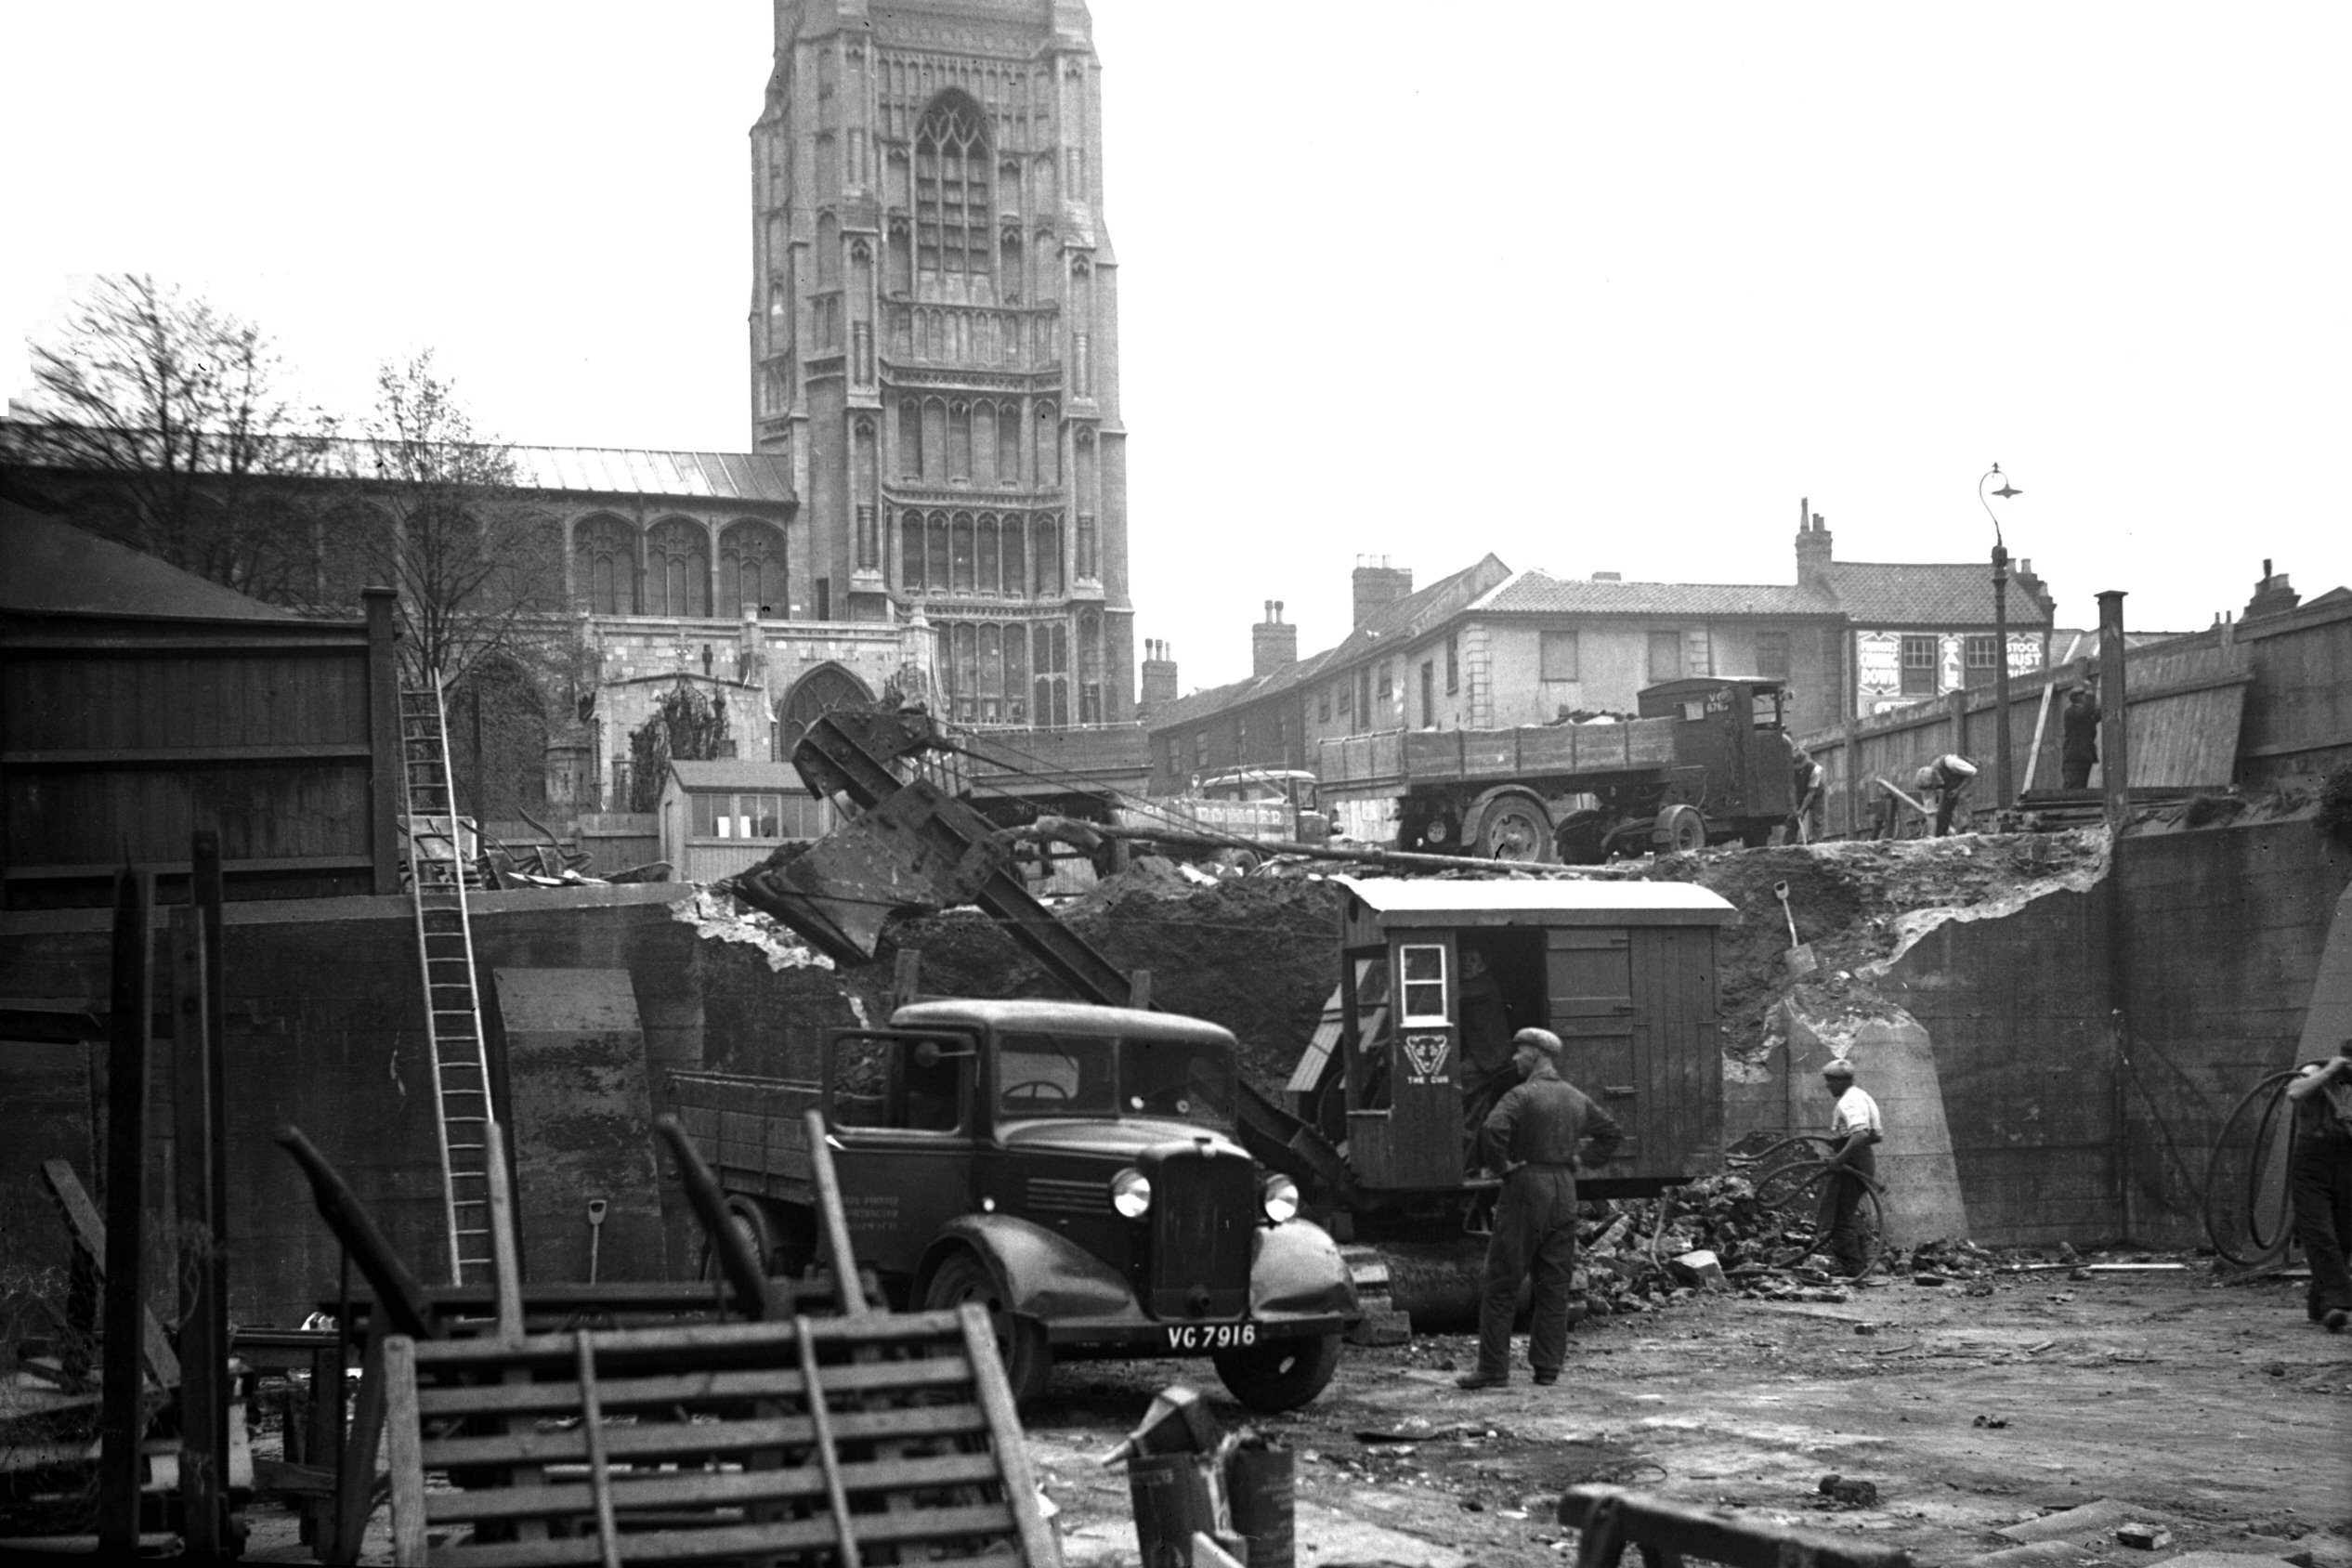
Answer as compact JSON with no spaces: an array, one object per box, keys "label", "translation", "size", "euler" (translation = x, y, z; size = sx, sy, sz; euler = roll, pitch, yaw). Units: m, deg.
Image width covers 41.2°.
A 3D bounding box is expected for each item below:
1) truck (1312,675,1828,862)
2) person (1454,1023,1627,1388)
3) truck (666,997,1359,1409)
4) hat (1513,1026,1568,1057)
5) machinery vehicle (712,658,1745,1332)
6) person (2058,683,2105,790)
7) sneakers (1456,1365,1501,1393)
[{"label":"truck","translation":[6.651,-0.115,48.475],"size":[5.709,2.259,2.843],"euler":[-2,0,-10]},{"label":"person","translation":[3.153,3.798,28.005],"size":[1.233,3.137,0.592],"euler":[-1,-6,0]},{"label":"truck","translation":[-1.587,3.507,28.400],"size":[3.116,2.320,5.586],"euler":[3,-6,-39]},{"label":"hat","translation":[3.304,2.328,28.224],"size":[0.412,0.226,0.373],"euler":[0,1,-1]},{"label":"machinery vehicle","translation":[2.205,2.205,33.831],"size":[10.661,5.812,6.359],"euler":[1,-3,-15]},{"label":"person","translation":[12.336,-0.635,42.738],"size":[0.465,1.572,1.317],"euler":[-3,-7,16]},{"label":"sneakers","translation":[2.691,5.325,27.866],"size":[0.378,0.154,0.161],"euler":[1,-5,5]}]
